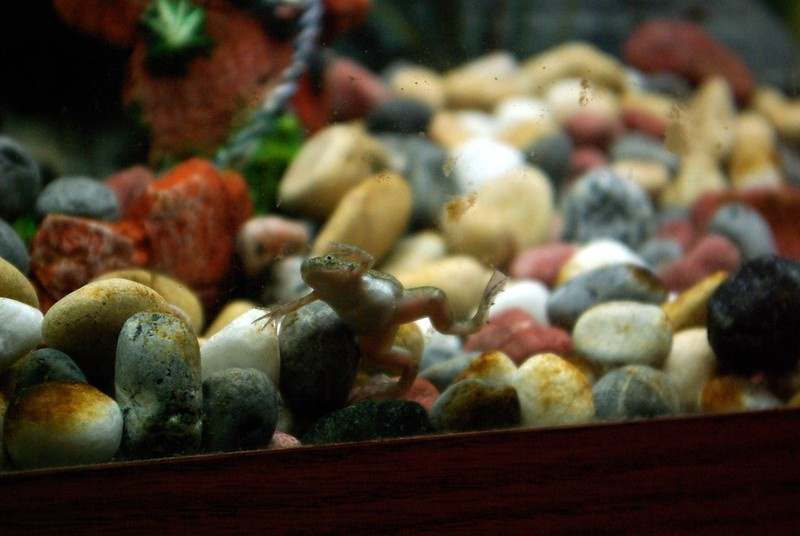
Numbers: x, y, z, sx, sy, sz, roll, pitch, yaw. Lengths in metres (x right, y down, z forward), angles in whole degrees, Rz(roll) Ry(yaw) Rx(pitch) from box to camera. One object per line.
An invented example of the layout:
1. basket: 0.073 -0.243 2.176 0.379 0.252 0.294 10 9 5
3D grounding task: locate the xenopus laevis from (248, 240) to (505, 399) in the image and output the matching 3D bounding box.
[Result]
1. xenopus laevis: -0.030 0.053 1.773 0.268 0.318 0.094 26 27 -24
